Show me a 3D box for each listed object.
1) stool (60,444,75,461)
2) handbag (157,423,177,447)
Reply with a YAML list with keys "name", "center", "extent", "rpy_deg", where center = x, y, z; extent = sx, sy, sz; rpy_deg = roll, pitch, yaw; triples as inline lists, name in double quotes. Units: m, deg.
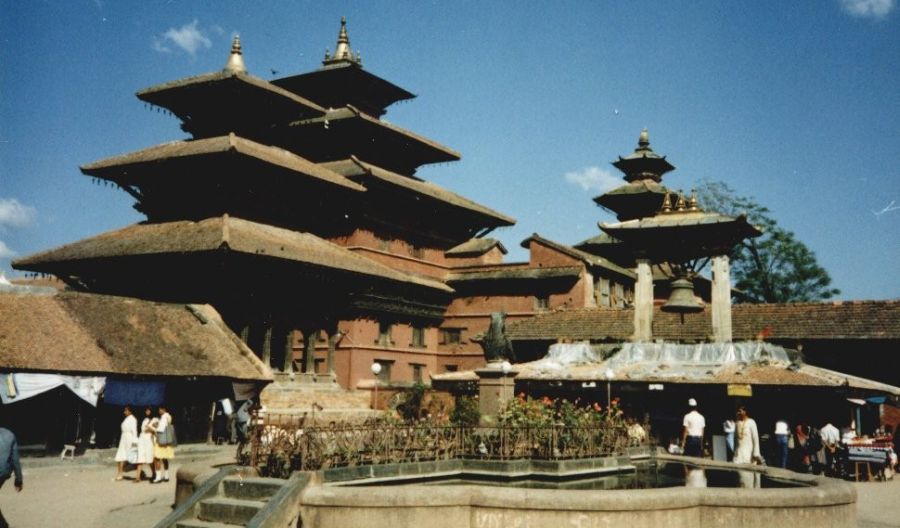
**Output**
- name: "stool"
  center: [-15.883, 7.750, 43.938]
  extent: [0.563, 0.713, 0.769]
  rpy_deg: [1, -12, 0]
- name: "handbag"
  center: [-10.977, 6.556, 40.920]
  extent: [0.768, 0.841, 0.422]
  rpy_deg: [10, -19, -36]
